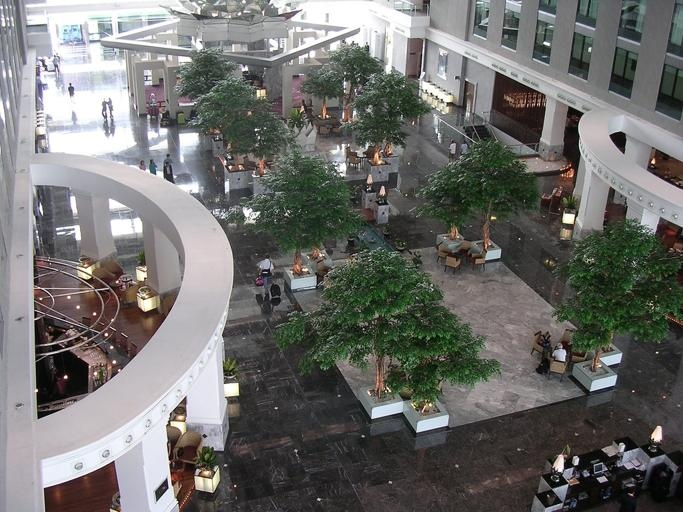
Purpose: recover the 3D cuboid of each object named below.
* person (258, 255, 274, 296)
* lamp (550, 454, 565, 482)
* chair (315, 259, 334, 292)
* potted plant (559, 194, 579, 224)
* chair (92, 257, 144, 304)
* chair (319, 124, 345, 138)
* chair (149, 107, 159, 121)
[{"bbox_3d":[-3.726,0.930,25.282,0.678,1.827,1.120,-12,24,-13],"label":"person"},{"bbox_3d":[6.877,6.722,15.911,0.376,0.787,0.364,19,54,23],"label":"lamp"},{"bbox_3d":[-0.804,0.912,23.069,1.027,0.599,1.960,-1,56,3],"label":"chair"},{"bbox_3d":[14.616,-3.001,32.036,0.907,1.536,2.040,4,25,22],"label":"potted plant"},{"bbox_3d":[-10.957,1.268,24.585,2.128,0.767,1.105,40,51,23],"label":"chair"},{"bbox_3d":[-0.778,-10.904,44.570,1.775,0.778,2.006,0,29,0],"label":"chair"},{"bbox_3d":[-16.905,-12.927,45.345,0.948,1.209,1.616,-13,24,-16],"label":"chair"}]
